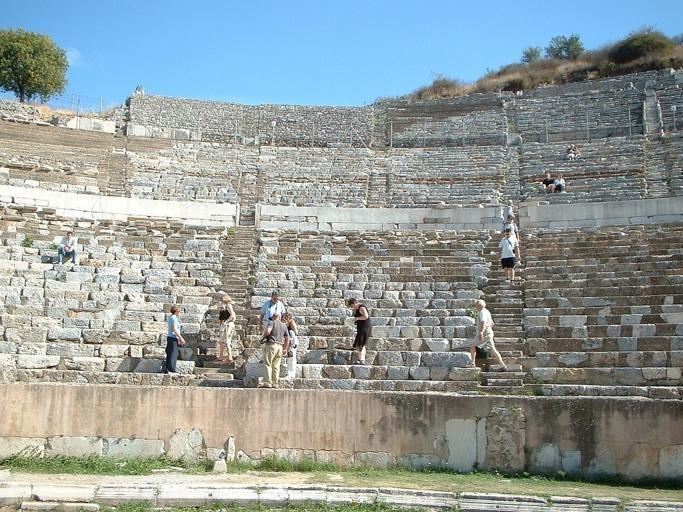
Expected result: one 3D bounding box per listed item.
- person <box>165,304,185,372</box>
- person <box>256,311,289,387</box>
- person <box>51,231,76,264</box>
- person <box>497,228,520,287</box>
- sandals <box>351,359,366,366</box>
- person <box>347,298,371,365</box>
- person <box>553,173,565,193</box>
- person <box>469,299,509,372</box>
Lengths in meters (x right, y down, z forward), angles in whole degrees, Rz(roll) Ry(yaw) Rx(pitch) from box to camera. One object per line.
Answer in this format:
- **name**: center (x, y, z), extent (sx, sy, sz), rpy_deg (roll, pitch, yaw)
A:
- **person**: center (-4.186, 2.085, 30.146), extent (0.485, 1.668, 0.989), rpy_deg (2, -11, -8)
- **person**: center (-1.587, 2.294, 29.136), extent (0.502, 1.823, 0.801), rpy_deg (-6, -12, 29)
- **person**: center (-7.774, -0.208, 34.006), extent (0.671, 0.958, 0.546), rpy_deg (-7, -13, 34)
- **person**: center (4.685, 0.013, 33.353), extent (0.492, 1.477, 1.277), rpy_deg (-1, -10, 8)
- **sandals**: center (0.431, 2.682, 30.149), extent (0.399, 0.117, 0.150), rpy_deg (-2, -5, 10)
- **person**: center (0.464, 1.897, 30.384), extent (0.575, 1.674, 1.149), rpy_deg (0, -10, 1)
- **person**: center (7.622, -2.506, 41.788), extent (0.390, 0.777, 0.954), rpy_deg (-1, -10, 11)
- **person**: center (3.693, 1.995, 30.097), extent (0.839, 1.748, 1.455), rpy_deg (-1, -10, 7)
